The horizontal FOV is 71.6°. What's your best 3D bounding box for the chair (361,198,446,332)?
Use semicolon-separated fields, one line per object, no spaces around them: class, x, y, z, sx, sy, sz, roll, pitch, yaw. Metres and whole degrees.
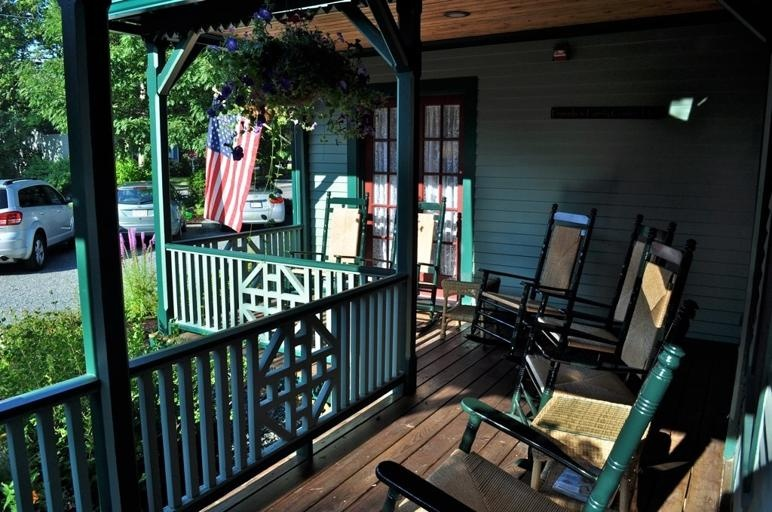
chair;0.183;0.051;6.731;1.267;1.475;0.861;-11;10;-16

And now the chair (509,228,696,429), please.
chair;1.543;0.641;4.140;1.123;1.593;1.064;1;10;-3

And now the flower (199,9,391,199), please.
flower;-0.563;-1.043;3.968;1.433;0.692;1.371;8;30;11

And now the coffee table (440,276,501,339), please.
coffee table;0.982;0.601;6.416;0.649;0.692;0.605;4;6;25
